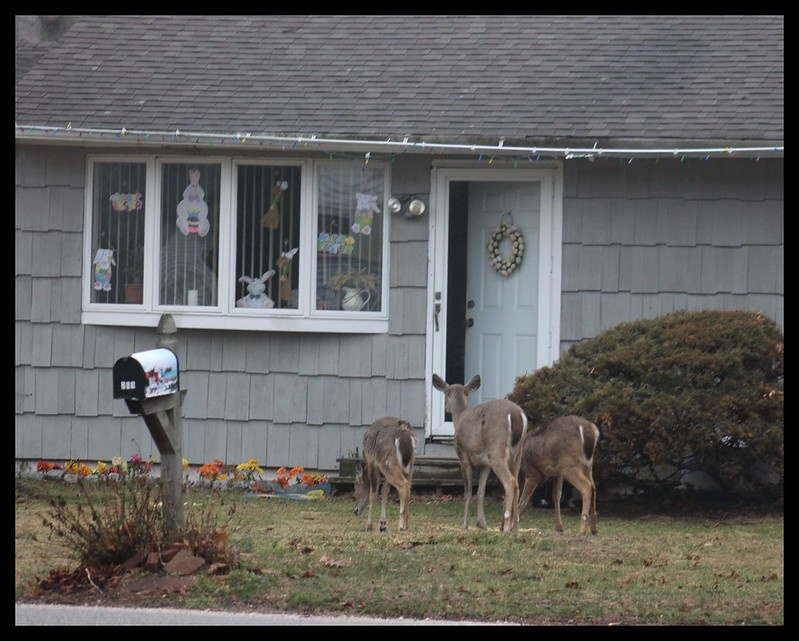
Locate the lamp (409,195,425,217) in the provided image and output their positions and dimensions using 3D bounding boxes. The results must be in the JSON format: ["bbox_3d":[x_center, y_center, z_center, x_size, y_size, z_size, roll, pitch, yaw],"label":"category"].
[{"bbox_3d":[0.209,-1.229,21.842,0.201,0.226,0.128,2,-1,1],"label":"lamp"}]

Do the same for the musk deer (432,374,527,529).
[{"bbox_3d":[0.897,1.338,20.322,0.727,1.538,1.107,2,-1,-25],"label":"musk deer"}]

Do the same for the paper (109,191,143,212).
[{"bbox_3d":[-3.034,-1.298,22.176,0.270,0.224,0.082,1,-4,11],"label":"paper"}]

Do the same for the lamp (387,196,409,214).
[{"bbox_3d":[0.027,-1.251,21.861,0.289,0.200,0.134,2,-1,1],"label":"lamp"}]

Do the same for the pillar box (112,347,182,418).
[{"bbox_3d":[-2.375,0.564,18.605,0.376,0.572,0.564,-3,2,30],"label":"pillar box"}]

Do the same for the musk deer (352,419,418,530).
[{"bbox_3d":[-0.141,1.560,20.347,0.547,1.140,1.231,2,-1,-7],"label":"musk deer"}]

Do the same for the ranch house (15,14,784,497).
[{"bbox_3d":[-0.082,-1.119,21.972,7.279,5.356,4.949,0,0,6],"label":"ranch house"}]

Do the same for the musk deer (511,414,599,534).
[{"bbox_3d":[1.642,1.471,20.321,0.727,1.269,0.827,3,4,-19],"label":"musk deer"}]

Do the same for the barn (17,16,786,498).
[{"bbox_3d":[0.228,-1.217,23.903,7.399,5.451,4.901,0,0,6],"label":"barn"}]

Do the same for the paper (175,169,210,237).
[{"bbox_3d":[-2.290,-1.285,22.120,0.354,0.873,0.016,3,-28,-9],"label":"paper"}]

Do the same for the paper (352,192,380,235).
[{"bbox_3d":[-0.343,-1.148,21.963,0.338,0.504,0.019,4,-8,2],"label":"paper"}]
